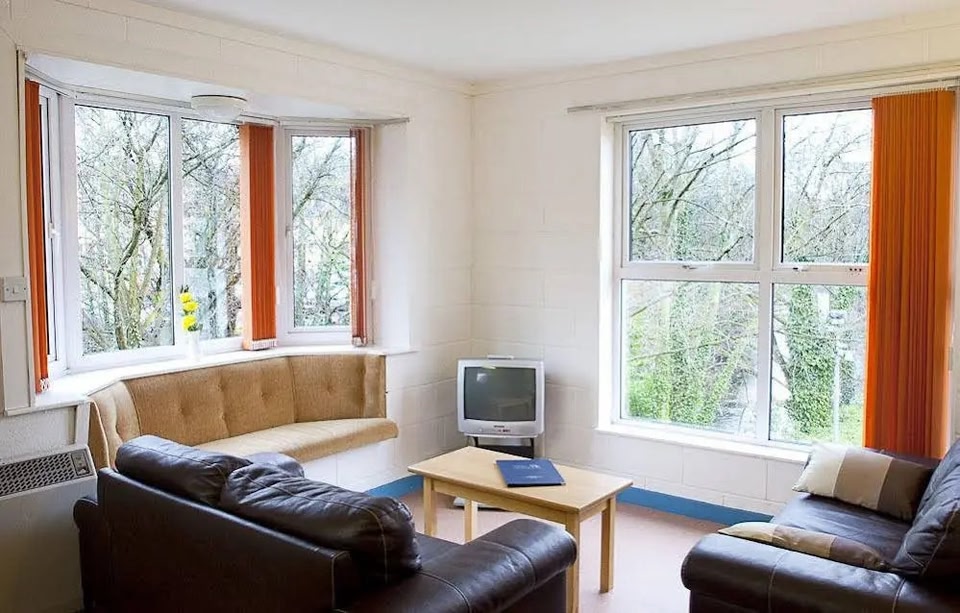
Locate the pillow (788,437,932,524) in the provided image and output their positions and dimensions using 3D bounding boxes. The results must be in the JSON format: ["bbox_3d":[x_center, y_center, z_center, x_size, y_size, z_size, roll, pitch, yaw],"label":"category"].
[{"bbox_3d":[2.311,1.037,4.017,0.557,0.161,0.402,12,53,48],"label":"pillow"}]

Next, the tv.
[{"bbox_3d":[0.179,0.702,5.498,0.984,0.762,0.566,0,-1,5],"label":"tv"}]

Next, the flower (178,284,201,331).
[{"bbox_3d":[-2.230,0.012,5.135,0.143,0.344,0.273,-2,6,-24],"label":"flower"}]

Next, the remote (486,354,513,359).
[{"bbox_3d":[0.149,0.395,5.381,0.189,0.022,0.295,0,4,-4],"label":"remote"}]
